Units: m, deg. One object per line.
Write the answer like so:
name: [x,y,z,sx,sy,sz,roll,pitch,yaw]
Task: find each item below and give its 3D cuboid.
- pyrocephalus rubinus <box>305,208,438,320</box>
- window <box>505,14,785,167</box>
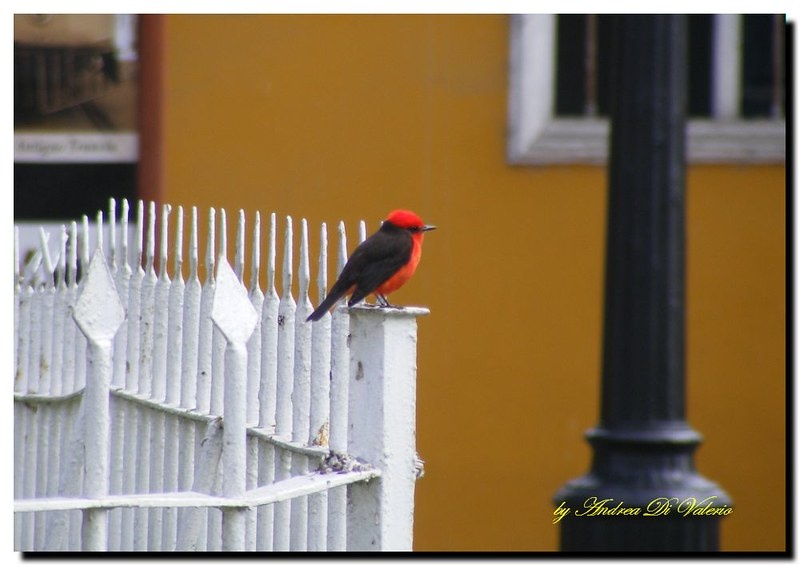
pyrocephalus rubinus: [-0.187,-0.101,13.824,0.869,0.605,0.311,-8,4,-14]
window: [1.577,-1.294,13.997,1.520,0.079,0.936,2,-62,12]
